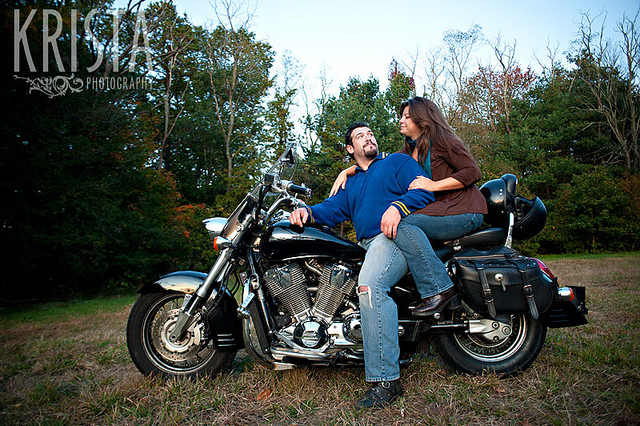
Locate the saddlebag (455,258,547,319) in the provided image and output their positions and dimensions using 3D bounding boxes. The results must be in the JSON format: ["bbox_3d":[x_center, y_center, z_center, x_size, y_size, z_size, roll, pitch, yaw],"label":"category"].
[{"bbox_3d":[2.169,0.912,5.366,0.703,0.539,0.264,0,-8,-5],"label":"saddlebag"}]
